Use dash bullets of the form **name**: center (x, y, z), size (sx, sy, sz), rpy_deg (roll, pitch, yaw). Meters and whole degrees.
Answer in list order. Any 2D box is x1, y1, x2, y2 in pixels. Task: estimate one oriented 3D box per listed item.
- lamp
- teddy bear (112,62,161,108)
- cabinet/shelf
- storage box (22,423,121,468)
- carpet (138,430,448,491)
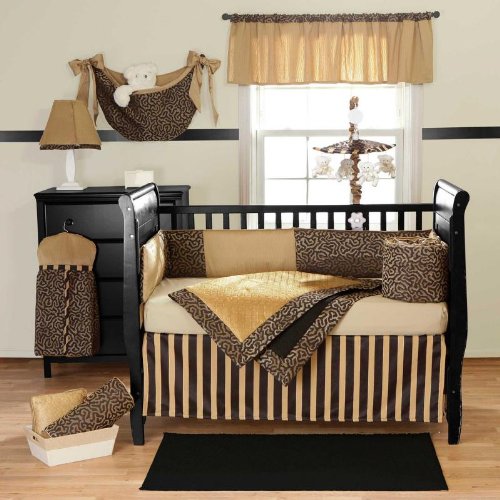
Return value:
- **lamp**: center (-1.025, -0.608, 3.220), size (0.319, 0.504, 0.312), rpy_deg (-1, 8, -5)
- **teddy bear**: center (-0.632, -0.949, 3.267), size (0.312, 0.304, 0.127), rpy_deg (-10, -9, -10)
- **cabinet/shelf**: center (-0.684, 0.142, 2.745), size (0.884, 1.249, 0.449), rpy_deg (-1, 3, -2)
- **storage box**: center (-0.685, 0.749, 2.186), size (0.239, 0.092, 0.169), rpy_deg (0, 3, -30)
- **carpet**: center (0.172, 0.802, 2.164), size (1.116, 0.018, 0.400), rpy_deg (0, 8, 2)
